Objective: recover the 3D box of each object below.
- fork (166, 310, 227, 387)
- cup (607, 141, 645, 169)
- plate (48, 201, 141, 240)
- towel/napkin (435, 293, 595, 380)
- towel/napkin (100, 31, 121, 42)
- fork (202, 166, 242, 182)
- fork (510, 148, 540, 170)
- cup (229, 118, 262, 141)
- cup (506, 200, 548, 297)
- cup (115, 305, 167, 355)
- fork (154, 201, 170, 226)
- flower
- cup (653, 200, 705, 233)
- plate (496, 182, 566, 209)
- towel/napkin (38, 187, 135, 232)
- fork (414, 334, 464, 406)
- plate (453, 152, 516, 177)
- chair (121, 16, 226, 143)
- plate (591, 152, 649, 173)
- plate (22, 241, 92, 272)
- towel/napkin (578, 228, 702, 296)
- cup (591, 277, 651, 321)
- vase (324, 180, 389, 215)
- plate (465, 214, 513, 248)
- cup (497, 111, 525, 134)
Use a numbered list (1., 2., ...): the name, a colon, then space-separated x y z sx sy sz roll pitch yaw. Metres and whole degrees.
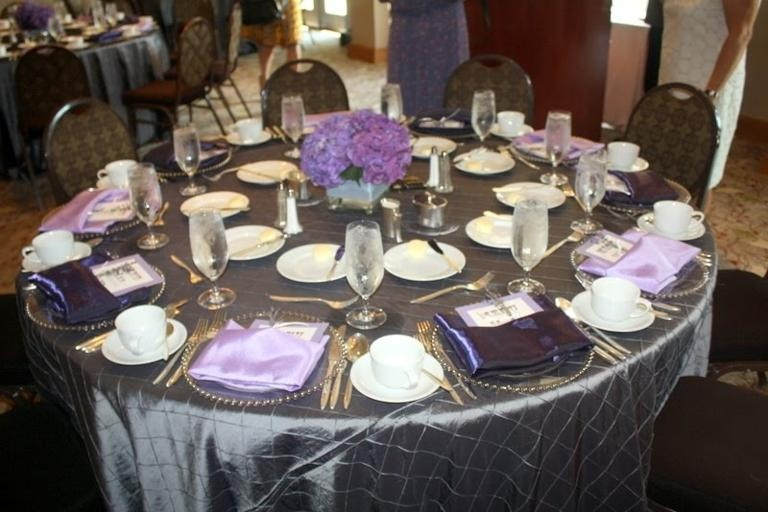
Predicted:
1. fork: -0.531 0.256 1.724 0.055 0.048 0.317 10 39 13
2. cup: 0.992 -0.424 2.432 0.133 0.106 0.126 -5 27 3
3. plate: -1.075 -0.151 2.167 0.219 0.033 0.209 12 32 15
4. towel/napkin: 0.351 0.217 1.662 0.419 0.095 0.321 -17 40 -28
5. towel/napkin: -2.394 -1.906 5.086 0.102 0.046 0.167 25 36 30
6. fork: -0.702 -0.348 2.505 0.028 0.023 0.161 36 38 28
7. fork: 0.611 -0.425 2.564 0.044 0.035 0.227 -26 36 1
8. cup: -0.666 -0.591 2.802 0.137 0.101 0.110 -10 37 -13
9. cup: 0.436 -0.011 1.771 0.134 0.323 0.148 10 34 20
10. cup: -0.676 0.199 1.647 0.114 0.088 0.149 5 37 0
11. fork: -0.847 -0.159 2.220 0.031 0.021 0.116 2 40 -3
12. flower: -0.094 -0.380 2.089 0.302 0.166 0.305 -5 26 -6
13. cup: 1.003 -0.140 2.025 0.147 0.080 0.110 28 40 33
14. plate: 0.567 -0.239 2.265 0.189 0.029 0.192 10 28 19
15. towel/napkin: -1.087 -0.165 2.180 0.245 0.037 0.237 4 32 11
16. fork: 0.146 0.313 1.557 0.028 0.030 0.199 -33 65 -12
17. plate: 0.424 -0.397 2.525 0.157 0.024 0.160 19 38 27
18. chair: -1.692 -1.481 4.822 0.777 0.789 0.580 5 13 29
19. plate: 0.913 -0.361 2.278 0.138 0.029 0.137 -13 26 -24
20. plate: -1.121 0.007 1.985 0.144 0.054 0.138 -26 45 -26
21. towel/napkin: 0.783 0.018 1.863 0.244 0.047 0.257 21 48 37
22. cup: 0.672 0.122 1.684 0.109 0.093 0.139 -12 29 -21
23. vase: -0.121 -0.243 2.274 0.146 0.118 0.149 8 14 38
24. plate: 0.370 -0.082 2.054 0.129 0.014 0.130 24 43 29
25. cup: 0.613 -0.645 2.837 0.121 0.109 0.154 2 11 17
